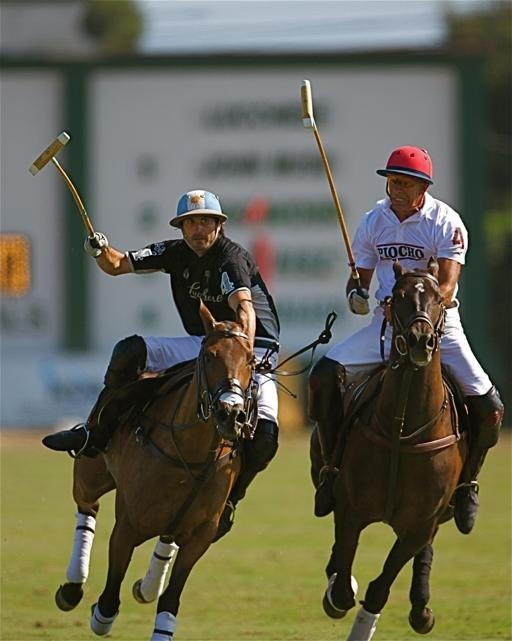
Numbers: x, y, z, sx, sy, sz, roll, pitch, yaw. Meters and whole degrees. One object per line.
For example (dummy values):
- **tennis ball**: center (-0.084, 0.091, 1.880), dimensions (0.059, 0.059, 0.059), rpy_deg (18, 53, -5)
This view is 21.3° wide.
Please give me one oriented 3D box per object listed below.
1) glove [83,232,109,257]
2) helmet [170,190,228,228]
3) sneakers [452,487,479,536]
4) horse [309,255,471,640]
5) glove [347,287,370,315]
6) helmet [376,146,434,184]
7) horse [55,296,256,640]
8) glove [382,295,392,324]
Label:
- **glove**: center (-1.056, -0.503, 8.900), dimensions (0.128, 0.158, 0.083), rpy_deg (-1, 15, -28)
- **helmet**: center (-0.387, -0.724, 8.802), dimensions (0.375, 0.231, 0.301), rpy_deg (0, 1, 5)
- **sneakers**: center (1.344, 1.217, 8.794), dimensions (0.162, 0.351, 0.120), rpy_deg (-1, 15, -9)
- **horse**: center (0.874, 0.871, 8.478), dimensions (0.850, 2.468, 1.391), rpy_deg (0, 1, -5)
- **glove**: center (0.678, -0.134, 8.841), dimensions (0.084, 0.164, 0.124), rpy_deg (-3, -41, -25)
- **helmet**: center (0.997, -0.975, 8.670), dimensions (0.307, 0.161, 0.262), rpy_deg (15, -8, -33)
- **horse**: center (-0.460, 0.929, 8.237), dimensions (0.680, 2.082, 1.472), rpy_deg (-1, 2, -33)
- **glove**: center (0.757, -0.069, 8.089), dimensions (0.047, 0.124, 0.091), rpy_deg (7, 9, 26)
